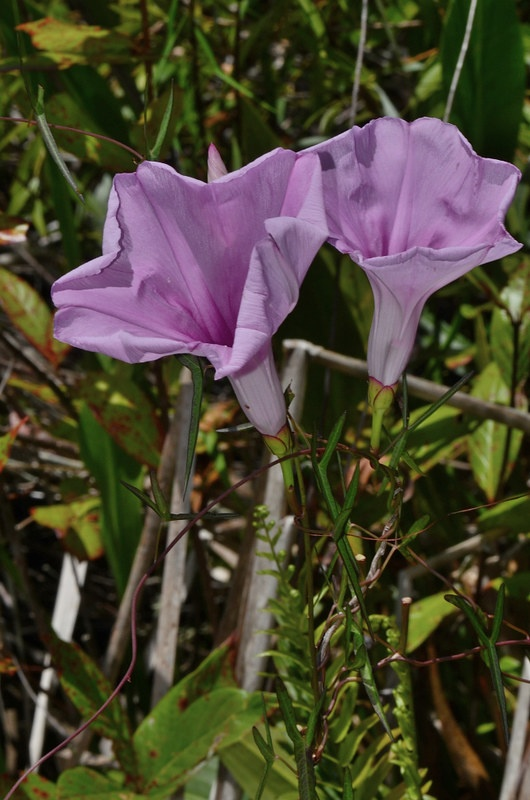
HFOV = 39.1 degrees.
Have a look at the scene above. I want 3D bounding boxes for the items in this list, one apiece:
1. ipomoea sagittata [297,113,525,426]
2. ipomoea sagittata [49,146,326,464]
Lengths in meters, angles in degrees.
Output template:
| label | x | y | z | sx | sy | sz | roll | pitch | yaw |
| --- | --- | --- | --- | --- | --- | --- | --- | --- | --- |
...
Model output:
| label | x | y | z | sx | sy | sz | roll | pitch | yaw |
| --- | --- | --- | --- | --- | --- | --- | --- | --- | --- |
| ipomoea sagittata | 0.052 | -0.066 | 0.335 | 0.108 | 0.112 | 0.106 | -13 | 53 | -17 |
| ipomoea sagittata | -0.021 | -0.057 | 0.323 | 0.108 | 0.109 | 0.097 | -43 | 58 | -18 |
